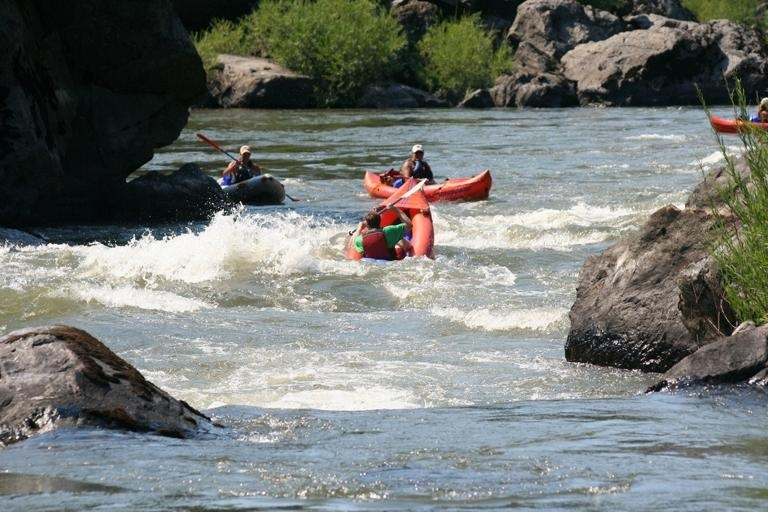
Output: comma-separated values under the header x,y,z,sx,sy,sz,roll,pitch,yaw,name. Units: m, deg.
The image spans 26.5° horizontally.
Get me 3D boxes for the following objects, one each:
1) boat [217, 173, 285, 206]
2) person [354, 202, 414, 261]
x,y,z,sx,sy,sz,roll,pitch,yaw,name
-3.811,-1.923,48.709,1.731,0.896,0.577,2,32,6,boat
-0.515,-0.559,43.543,1.201,1.420,2.541,1,-3,-1,person
